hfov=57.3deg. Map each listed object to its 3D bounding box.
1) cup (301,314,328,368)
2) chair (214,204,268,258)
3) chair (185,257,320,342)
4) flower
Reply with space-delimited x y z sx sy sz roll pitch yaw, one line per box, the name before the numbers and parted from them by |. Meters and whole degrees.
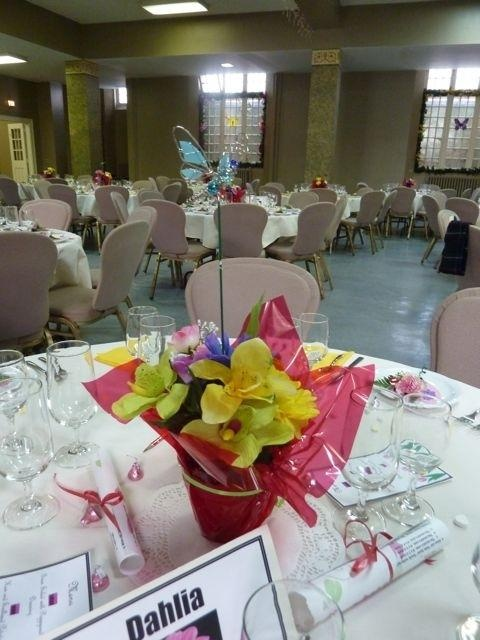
cup | 0.126 0.032 0.765 0.062 0.095 0.066 -4 25 2
chair | 0.003 -0.703 3.492 0.408 0.447 0.340 -2 20 -5
chair | 0.039 -0.099 1.474 0.330 0.390 0.289 -1 10 0
flower | -0.023 0.066 0.458 0.214 0.145 0.207 -6 20 -18
